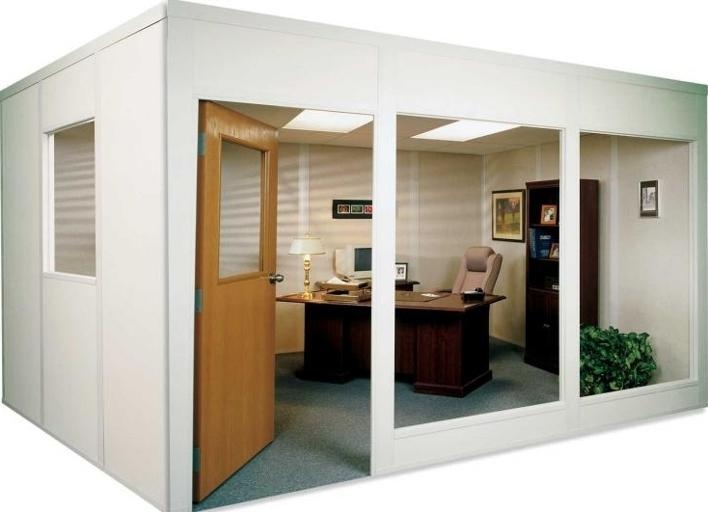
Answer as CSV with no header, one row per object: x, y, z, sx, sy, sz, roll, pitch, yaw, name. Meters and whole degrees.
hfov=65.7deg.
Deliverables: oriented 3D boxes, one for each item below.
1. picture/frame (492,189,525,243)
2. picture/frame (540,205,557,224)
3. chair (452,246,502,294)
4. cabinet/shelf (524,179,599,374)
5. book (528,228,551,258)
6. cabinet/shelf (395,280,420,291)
2.203,-0.574,7.815,0.031,0.780,0.768,-1,2,-24,picture/frame
2.348,-0.496,6.571,0.020,0.275,0.228,4,-1,-39,picture/frame
1.617,0.167,7.141,0.512,0.773,0.673,5,8,42,chair
2.434,0.230,6.464,0.871,2.240,0.708,2,6,24,cabinet/shelf
2.277,-0.170,6.668,0.354,0.470,0.166,0,2,-12,book
0.733,0.418,7.616,0.263,0.146,0.459,2,8,19,cabinet/shelf
